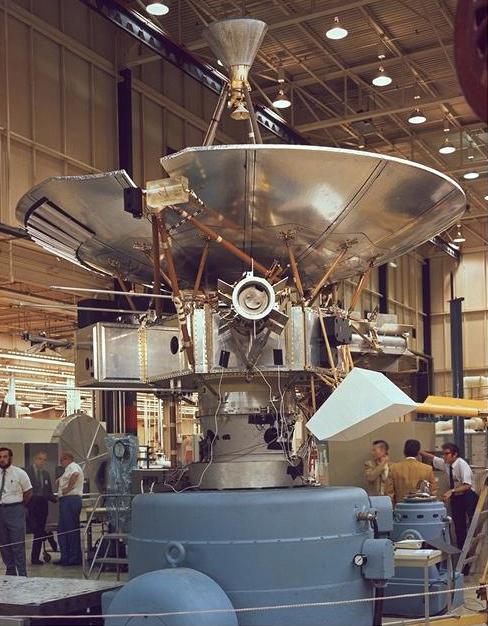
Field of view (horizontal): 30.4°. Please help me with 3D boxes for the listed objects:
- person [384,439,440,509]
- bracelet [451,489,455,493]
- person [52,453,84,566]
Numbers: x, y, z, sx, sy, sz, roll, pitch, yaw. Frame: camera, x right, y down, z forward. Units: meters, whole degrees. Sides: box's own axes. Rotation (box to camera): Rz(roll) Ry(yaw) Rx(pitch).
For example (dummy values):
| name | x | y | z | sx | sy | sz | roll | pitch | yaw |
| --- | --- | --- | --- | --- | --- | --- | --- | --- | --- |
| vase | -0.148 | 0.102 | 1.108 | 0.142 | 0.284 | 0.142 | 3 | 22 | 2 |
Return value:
| name | x | y | z | sx | sy | sz | roll | pitch | yaw |
| --- | --- | --- | --- | --- | --- | --- | --- | --- | --- |
| person | 2.506 | 2.500 | 13.036 | 0.733 | 1.497 | 0.438 | -4 | 20 | 20 |
| bracelet | 3.047 | 2.576 | 13.061 | 0.037 | 0.052 | 0.055 | -5 | 10 | -2 |
| person | -3.034 | 3.412 | 15.776 | 0.438 | 1.895 | 0.818 | -1 | -6 | -12 |
